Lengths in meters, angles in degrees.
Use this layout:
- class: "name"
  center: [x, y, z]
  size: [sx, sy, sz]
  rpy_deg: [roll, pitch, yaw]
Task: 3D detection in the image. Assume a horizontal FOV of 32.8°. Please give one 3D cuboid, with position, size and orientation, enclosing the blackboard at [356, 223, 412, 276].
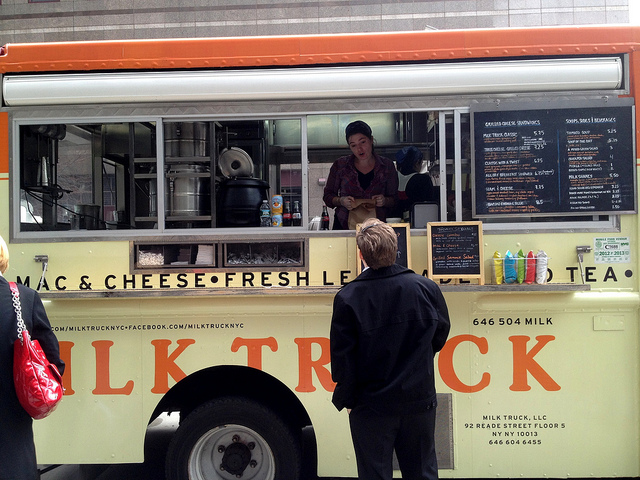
- class: "blackboard"
  center: [0.535, 0.087, 9.301]
  size: [0.451, 0.543, 0.034]
  rpy_deg: [-1, -9, -5]

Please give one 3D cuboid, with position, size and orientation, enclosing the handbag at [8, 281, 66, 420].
- class: "handbag"
  center: [-2.319, 0.895, 8.861]
  size: [0.388, 0.990, 0.216]
  rpy_deg: [-2, 0, -16]

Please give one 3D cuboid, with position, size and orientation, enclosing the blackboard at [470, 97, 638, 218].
- class: "blackboard"
  center: [2.174, -0.754, 9.812]
  size: [1.049, 0.790, 0.050]
  rpy_deg: [0, 0, 3]

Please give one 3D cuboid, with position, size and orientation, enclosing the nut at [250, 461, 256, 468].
- class: "nut"
  center: [-0.611, 2.060, 9.953]
  size: [0.044, 0.052, 0.051]
  rpy_deg: [8, -5, -8]

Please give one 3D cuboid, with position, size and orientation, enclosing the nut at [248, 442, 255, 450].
- class: "nut"
  center: [-0.629, 1.891, 9.955]
  size: [0.054, 0.057, 0.019]
  rpy_deg: [-7, 4, -10]

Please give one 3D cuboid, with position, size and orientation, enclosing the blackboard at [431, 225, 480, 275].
- class: "blackboard"
  center: [1.235, 0.095, 9.785]
  size: [0.427, 0.450, 0.031]
  rpy_deg: [0, -4, 2]
